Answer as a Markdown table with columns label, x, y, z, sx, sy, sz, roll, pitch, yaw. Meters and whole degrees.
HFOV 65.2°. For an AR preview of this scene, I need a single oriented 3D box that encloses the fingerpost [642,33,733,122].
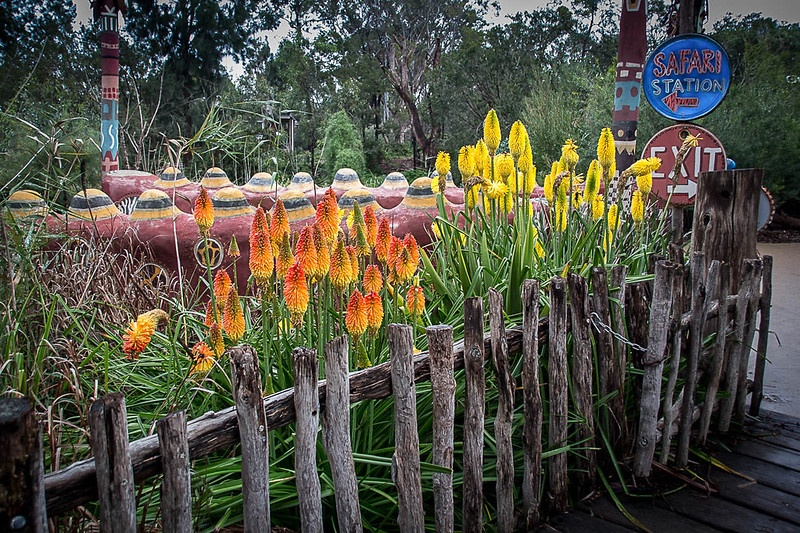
| label | x | y | z | sx | sy | sz | roll | pitch | yaw |
| --- | --- | --- | --- | --- | --- | --- | --- | --- | --- |
| fingerpost | 2.983 | -1.919 | 6.553 | 0.836 | 1.062 | 0.130 | 8 | -17 | 22 |
